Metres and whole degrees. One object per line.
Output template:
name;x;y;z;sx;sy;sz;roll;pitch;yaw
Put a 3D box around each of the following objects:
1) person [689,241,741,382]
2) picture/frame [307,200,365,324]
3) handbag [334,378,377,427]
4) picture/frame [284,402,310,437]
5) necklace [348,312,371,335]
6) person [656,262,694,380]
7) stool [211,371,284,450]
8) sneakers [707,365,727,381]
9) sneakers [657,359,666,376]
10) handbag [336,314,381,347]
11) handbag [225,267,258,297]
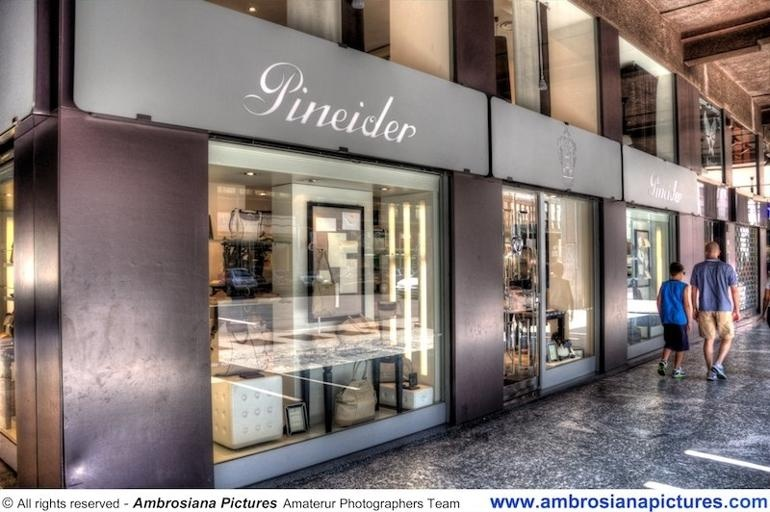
person;5.322;0.846;9.485;0.659;2.194;0.649;-5;-5;27
picture/frame;-0.550;0.058;6.667;0.744;1.299;0.184;1;-6;-35
handbag;-0.355;1.669;6.679;0.233;0.450;0.564;-5;-5;44
picture/frame;-0.949;1.738;6.287;0.027;0.315;0.275;-23;-19;39
necklace;-0.306;0.804;6.868;0.238;0.227;0.056;28;-9;-24
person;4.749;1.018;9.720;0.598;1.836;1.355;-5;-5;24
stool;-1.505;1.630;6.265;0.859;0.637;0.849;-3;-6;8
sneakers;5.229;1.819;9.278;0.299;0.236;0.266;-4;-5;19
sneakers;4.474;1.797;9.510;0.135;0.285;0.125;-16;12;-42
handbag;-0.313;0.853;6.844;0.607;0.315;0.136;5;-5;-45
handbag;-1.448;0.241;5.919;0.258;0.330;0.352;2;1;37
